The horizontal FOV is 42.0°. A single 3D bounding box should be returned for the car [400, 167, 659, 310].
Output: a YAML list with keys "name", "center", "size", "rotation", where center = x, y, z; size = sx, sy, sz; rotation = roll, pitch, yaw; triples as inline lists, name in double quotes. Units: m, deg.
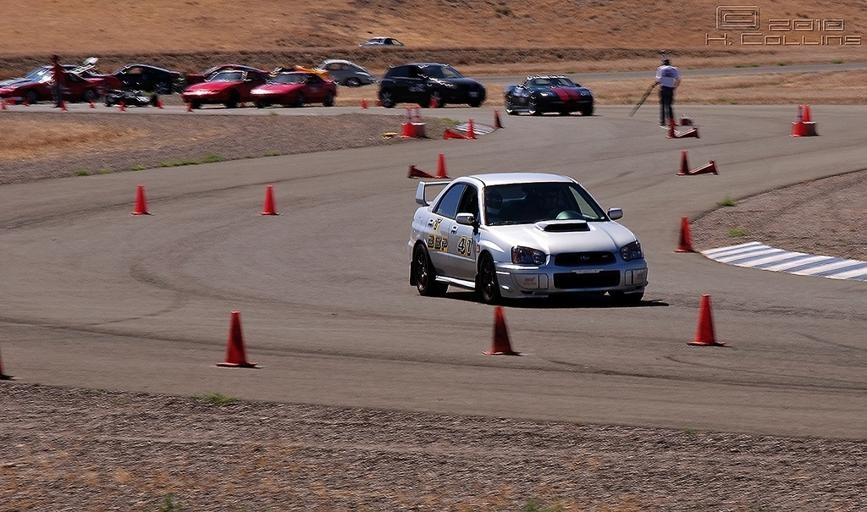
- name: "car"
  center: [1.190, -0.376, 19.528]
  size: [4.353, 1.751, 7.371]
  rotation: [-1, 3, -11]

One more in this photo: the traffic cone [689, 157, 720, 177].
- name: "traffic cone"
  center: [6.953, -2.313, 29.445]
  size: [0.808, 0.383, 0.416]
  rotation: [2, 19, 13]

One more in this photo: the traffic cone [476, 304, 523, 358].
- name: "traffic cone"
  center: [0.929, 1.029, 16.086]
  size: [0.503, 0.734, 0.385]
  rotation: [-4, 22, 0]

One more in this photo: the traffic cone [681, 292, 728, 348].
- name: "traffic cone"
  center: [3.935, 0.904, 16.412]
  size: [0.506, 0.769, 0.508]
  rotation: [0, 22, 10]
